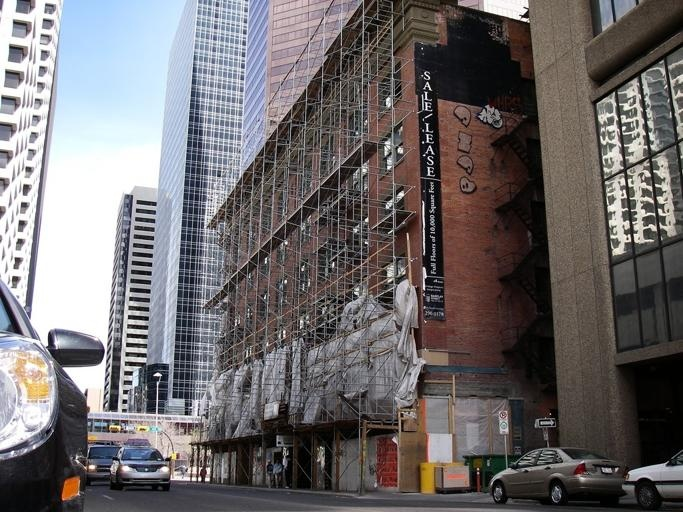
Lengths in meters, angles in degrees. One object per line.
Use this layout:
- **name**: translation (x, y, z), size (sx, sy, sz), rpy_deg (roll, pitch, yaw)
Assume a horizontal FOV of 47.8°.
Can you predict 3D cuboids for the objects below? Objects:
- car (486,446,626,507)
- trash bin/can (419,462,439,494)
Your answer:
- **car**: translation (6.384, 6.593, 23.045), size (1.092, 1.668, 3.933), rpy_deg (11, -24, -38)
- **trash bin/can**: translation (3.768, 9.630, 33.279), size (0.567, 1.284, 1.682), rpy_deg (1, -19, -13)
